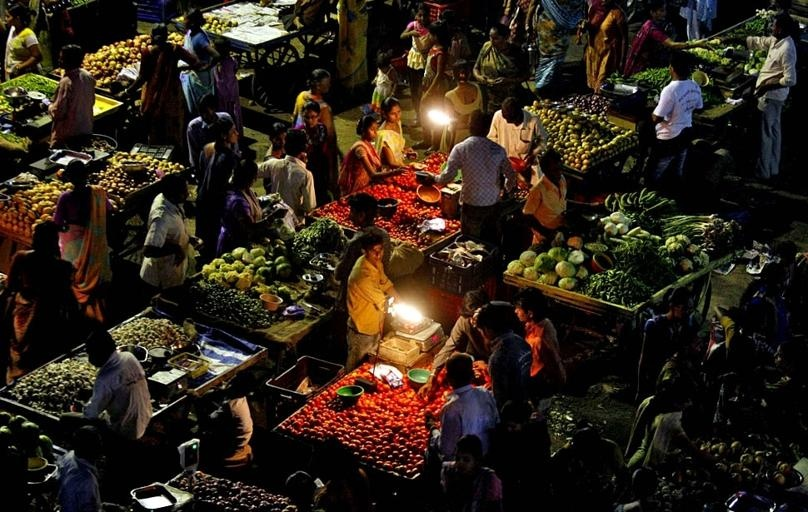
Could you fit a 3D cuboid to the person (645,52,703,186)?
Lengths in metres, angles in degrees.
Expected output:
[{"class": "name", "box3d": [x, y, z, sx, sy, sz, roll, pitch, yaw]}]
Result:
[{"class": "person", "box3d": [4.793, -2.380, 11.456, 0.654, 2.390, 1.119, 15, 18, 35]}]

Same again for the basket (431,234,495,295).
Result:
[{"class": "basket", "box3d": [0.870, 0.124, 9.440, 0.726, 0.447, 1.020, 20, 31, 30]}]

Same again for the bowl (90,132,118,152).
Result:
[{"class": "bowl", "box3d": [-5.369, -2.001, 11.404, 0.413, 0.095, 0.423, 16, 35, -12]}]

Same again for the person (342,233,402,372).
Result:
[{"class": "person", "box3d": [-0.448, 0.613, 8.174, 0.604, 1.931, 0.380, 3, 15, -6]}]

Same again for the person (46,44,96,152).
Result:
[{"class": "person", "box3d": [-5.773, -2.732, 11.108, 0.716, 1.744, 0.518, -3, 17, -28]}]

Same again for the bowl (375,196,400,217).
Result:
[{"class": "bowl", "box3d": [-0.267, -0.781, 10.293, 0.302, 0.206, 0.300, 0, 21, 0]}]

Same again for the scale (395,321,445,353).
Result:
[{"class": "scale", "box3d": [0.217, 1.029, 8.435, 0.401, 0.172, 0.443, 20, 36, 31]}]

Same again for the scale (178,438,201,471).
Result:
[{"class": "scale", "box3d": [-2.236, 2.063, 6.663, 0.189, 0.426, 0.200, -2, 16, -24]}]

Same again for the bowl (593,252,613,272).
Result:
[{"class": "bowl", "box3d": [2.826, 0.093, 9.158, 0.251, 0.151, 0.254, 7, 45, -7]}]

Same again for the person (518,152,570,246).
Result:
[{"class": "person", "box3d": [2.162, -0.873, 9.680, 0.636, 1.442, 0.340, 8, 15, 12]}]

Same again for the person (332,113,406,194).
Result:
[{"class": "person", "box3d": [-0.602, -1.720, 11.105, 1.080, 1.940, 0.952, 12, 54, 7]}]

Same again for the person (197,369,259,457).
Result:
[{"class": "person", "box3d": [-2.107, 1.932, 7.597, 0.647, 1.173, 0.489, -1, 16, -19]}]

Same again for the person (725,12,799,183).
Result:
[{"class": "person", "box3d": [7.258, -3.066, 12.592, 0.700, 3.146, 0.862, 12, 16, 25]}]

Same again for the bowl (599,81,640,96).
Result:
[{"class": "bowl", "box3d": [4.317, -3.266, 12.603, 0.526, 0.259, 0.795, -5, 18, -32]}]

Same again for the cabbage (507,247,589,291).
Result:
[{"class": "cabbage", "box3d": [2.063, 0.163, 9.122, 0.762, 0.301, 0.789, 18, 32, 34]}]

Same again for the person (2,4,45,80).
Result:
[{"class": "person", "box3d": [-7.512, -4.158, 12.564, 0.826, 1.428, 0.408, 16, 18, 36]}]

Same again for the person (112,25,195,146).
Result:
[{"class": "person", "box3d": [-4.786, -3.346, 12.728, 1.216, 2.309, 0.622, 0, 16, -18]}]

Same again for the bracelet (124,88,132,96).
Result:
[{"class": "bracelet", "box3d": [-5.526, -3.266, 12.783, 0.141, 0.136, 0.033, -8, 35, -27]}]

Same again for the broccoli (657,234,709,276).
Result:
[{"class": "broccoli", "box3d": [4.114, -0.026, 9.462, 0.552, 0.303, 0.722, 15, 17, 1]}]

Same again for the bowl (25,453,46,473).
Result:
[{"class": "bowl", "box3d": [-3.807, 2.113, 6.597, 0.153, 0.047, 0.149, 12, 33, -8]}]

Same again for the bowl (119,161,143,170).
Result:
[{"class": "bowl", "box3d": [-4.551, -1.492, 10.745, 0.403, 0.129, 0.257, 12, 17, 24]}]

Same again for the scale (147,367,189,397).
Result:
[{"class": "scale", "box3d": [-2.764, 1.441, 7.437, 0.248, 0.143, 0.325, 8, 19, 20]}]

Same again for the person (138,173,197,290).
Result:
[{"class": "person", "box3d": [-3.212, -0.285, 8.662, 0.674, 1.646, 0.464, -1, 16, -20]}]

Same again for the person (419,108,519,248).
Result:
[{"class": "person", "box3d": [1.082, -0.972, 10.177, 1.499, 2.577, 0.759, -4, 30, -4]}]

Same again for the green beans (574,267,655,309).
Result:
[{"class": "green beans", "box3d": [2.904, 0.445, 8.797, 0.611, 0.214, 0.670, 24, 43, 27]}]

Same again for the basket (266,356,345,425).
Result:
[{"class": "basket", "box3d": [-1.307, 1.662, 8.125, 0.699, 0.557, 1.052, 25, 44, 26]}]

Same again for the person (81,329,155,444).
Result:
[{"class": "person", "box3d": [-3.108, 1.465, 6.921, 0.611, 1.092, 0.685, 29, 50, 20]}]

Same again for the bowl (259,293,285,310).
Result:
[{"class": "bowl", "box3d": [-1.808, 0.624, 8.711, 0.278, 0.184, 0.278, 5, 15, -1]}]

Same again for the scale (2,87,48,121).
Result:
[{"class": "scale", "box3d": [-7.062, -2.870, 11.930, 0.856, 0.310, 0.696, 28, 36, 29]}]
